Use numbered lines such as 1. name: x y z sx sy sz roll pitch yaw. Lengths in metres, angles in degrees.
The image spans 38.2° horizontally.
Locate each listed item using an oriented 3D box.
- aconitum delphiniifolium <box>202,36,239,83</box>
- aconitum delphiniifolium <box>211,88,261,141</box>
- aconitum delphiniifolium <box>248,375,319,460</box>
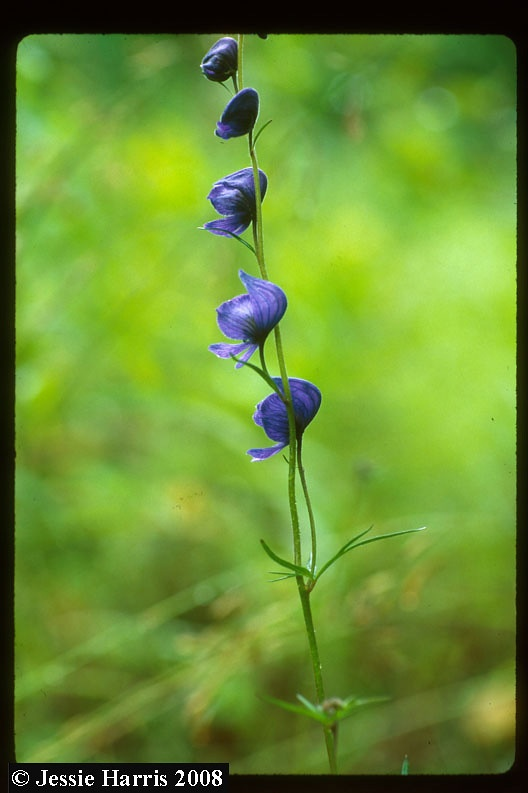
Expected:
1. aconitum delphiniifolium: -0.031 -0.233 0.529 0.026 0.030 0.016 -7 -8 -1
2. aconitum delphiniifolium: -0.019 -0.193 0.523 0.033 0.027 0.026 -13 -10 35
3. aconitum delphiniifolium: 0.013 0.015 0.534 0.043 0.052 0.044 -4 -8 -22
